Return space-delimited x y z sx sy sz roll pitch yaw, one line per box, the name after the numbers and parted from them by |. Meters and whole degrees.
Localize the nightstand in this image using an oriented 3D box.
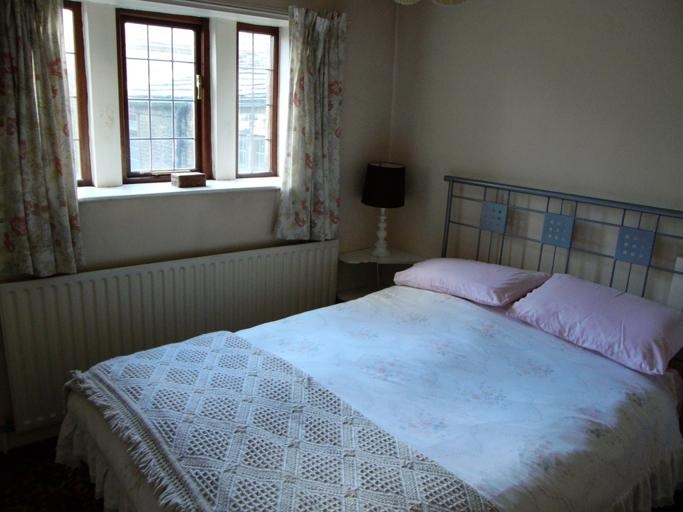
0.284 0.171 3.865 0.621 0.346 0.431 -18 27 -38 | nightstand
